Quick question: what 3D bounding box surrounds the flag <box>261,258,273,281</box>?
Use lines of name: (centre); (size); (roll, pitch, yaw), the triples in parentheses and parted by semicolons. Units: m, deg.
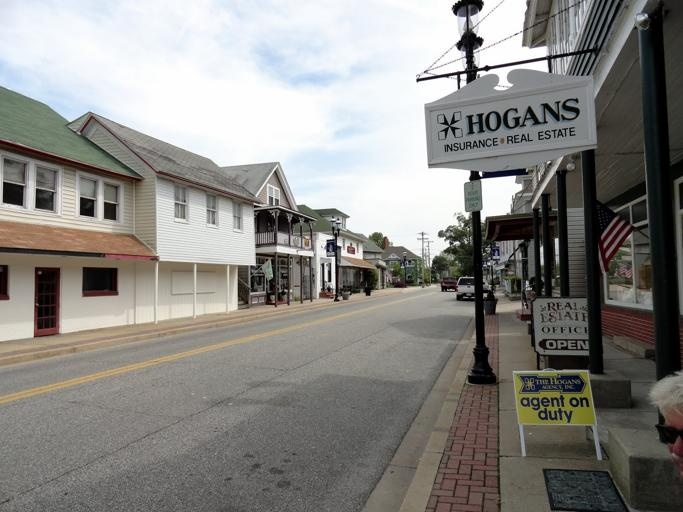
flag: (-4.349, 0.772, 31.451); (0.695, 0.612, 1.179); (7, -22, -18)

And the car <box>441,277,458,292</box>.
car: (10.724, 2.766, 54.981); (1.381, 1.166, 2.377); (-3, -8, 13)

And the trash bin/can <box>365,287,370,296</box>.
trash bin/can: (2.130, 2.904, 45.498); (0.583, 0.892, 0.589); (-2, 1, 7)

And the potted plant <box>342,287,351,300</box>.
potted plant: (0.222, 2.694, 39.680); (0.709, 0.933, 0.716); (-2, -3, 12)
